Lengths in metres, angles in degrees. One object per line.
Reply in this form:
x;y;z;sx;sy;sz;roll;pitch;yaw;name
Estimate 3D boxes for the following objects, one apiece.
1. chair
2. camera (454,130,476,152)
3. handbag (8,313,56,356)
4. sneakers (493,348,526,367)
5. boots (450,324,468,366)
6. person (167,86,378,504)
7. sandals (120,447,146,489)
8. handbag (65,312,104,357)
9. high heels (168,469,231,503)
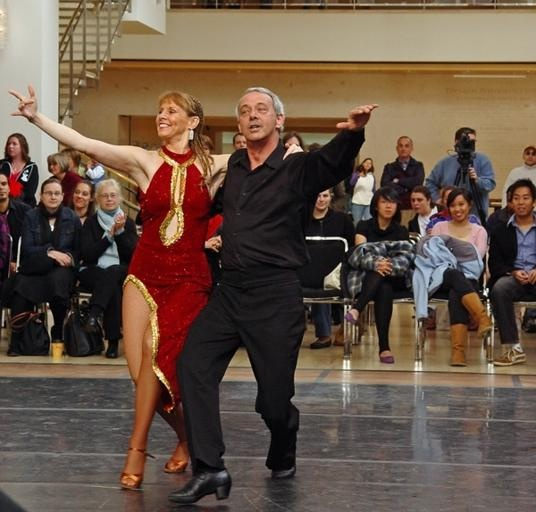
0.947;0.278;6.158;1.289;1.087;0.929;1;-7;-1;chair
1.999;-1.174;8.036;0.223;0.159;0.346;-1;7;7;camera
-1.842;0.607;6.228;0.395;0.349;0.329;-2;-6;35;handbag
1.755;0.730;5.768;0.207;0.146;0.247;0;1;19;sneakers
1.380;0.651;5.739;0.105;0.311;0.150;0;1;12;boots
-0.010;0.112;2.907;0.683;1.504;0.456;0;1;-5;person
-0.494;0.792;2.903;0.063;0.070;0.176;1;9;-3;sandals
-1.431;0.611;6.108;0.195;0.326;0.341;-3;-7;4;handbag
-0.220;0.792;2.722;0.248;0.105;0.084;-1;-4;-13;high heels
